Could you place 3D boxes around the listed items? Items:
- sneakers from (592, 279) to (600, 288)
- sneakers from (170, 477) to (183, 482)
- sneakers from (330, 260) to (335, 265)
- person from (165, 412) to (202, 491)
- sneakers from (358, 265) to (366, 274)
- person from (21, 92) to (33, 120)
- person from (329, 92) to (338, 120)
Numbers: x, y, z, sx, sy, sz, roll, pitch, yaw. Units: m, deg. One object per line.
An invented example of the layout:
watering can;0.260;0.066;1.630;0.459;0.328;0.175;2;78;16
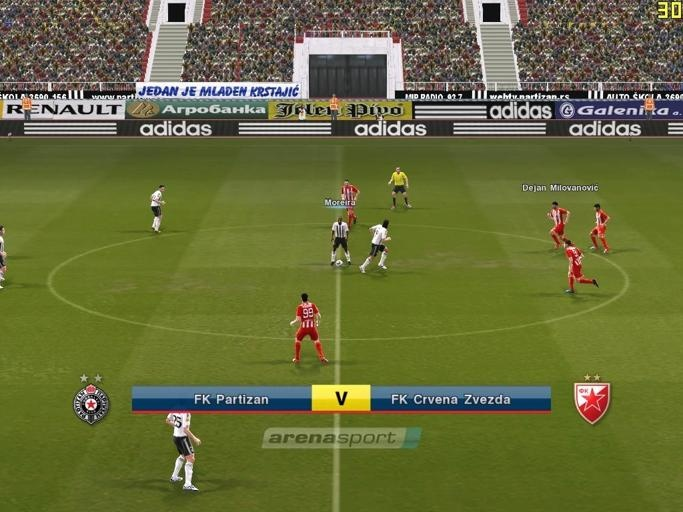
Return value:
sneakers;8.839;0.951;33.108;0.193;0.199;0.567;-2;8;13
sneakers;-3.772;5.161;21.725;0.365;0.124;0.110;-3;15;-17
sneakers;-0.356;0.281;36.892;0.145;0.154;0.387;-1;12;-4
person;-3.557;4.388;21.301;0.690;1.934;0.859;-8;22;-14
sneakers;0.766;0.501;35.706;0.186;0.362;0.121;-19;43;8
person;-21.946;-10.484;66.431;0.550;1.800;0.507;10;25;29
person;-0.510;-10.343;66.584;0.630;1.653;0.859;3;22;14
